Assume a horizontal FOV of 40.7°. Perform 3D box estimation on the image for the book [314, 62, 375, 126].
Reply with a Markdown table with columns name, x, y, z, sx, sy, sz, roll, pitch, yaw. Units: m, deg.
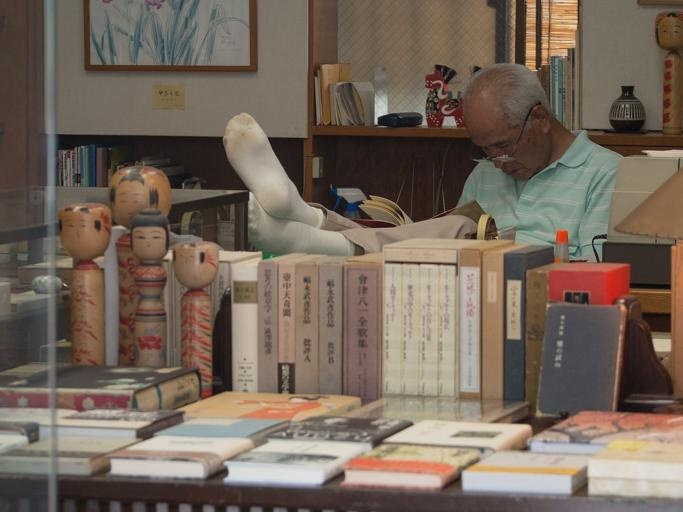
| name | x | y | z | sx | sy | sz | roll | pitch | yaw |
| --- | --- | --- | --- | --- | --- | --- | --- | --- | --- |
| book | -0.010 | -0.684 | 4.024 | 0.220 | 0.300 | 0.100 | -1 | 5 | -8 |

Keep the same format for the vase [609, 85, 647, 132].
| name | x | y | z | sx | sy | sz | roll | pitch | yaw |
| --- | --- | --- | --- | --- | --- | --- | --- | --- | --- |
| vase | 1.078 | -0.551 | 3.453 | 0.128 | 0.174 | 0.131 | -4 | 11 | -7 |
